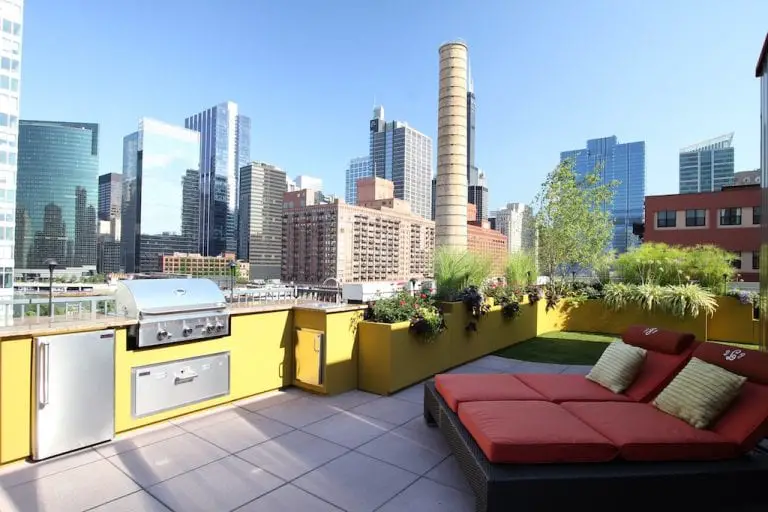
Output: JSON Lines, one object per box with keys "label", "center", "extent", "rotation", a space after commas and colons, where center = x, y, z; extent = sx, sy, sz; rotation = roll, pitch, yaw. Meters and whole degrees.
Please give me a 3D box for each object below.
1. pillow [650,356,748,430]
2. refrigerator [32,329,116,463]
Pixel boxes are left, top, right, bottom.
{"label": "pillow", "center": [3.975, 1.709, 6.180], "extent": [0.250, 0.745, 0.819], "rotation": [45, -8, -26]}
{"label": "refrigerator", "center": [-4.203, 1.852, 6.876], "extent": [0.962, 1.578, 1.201], "rotation": [0, -1, 41]}
